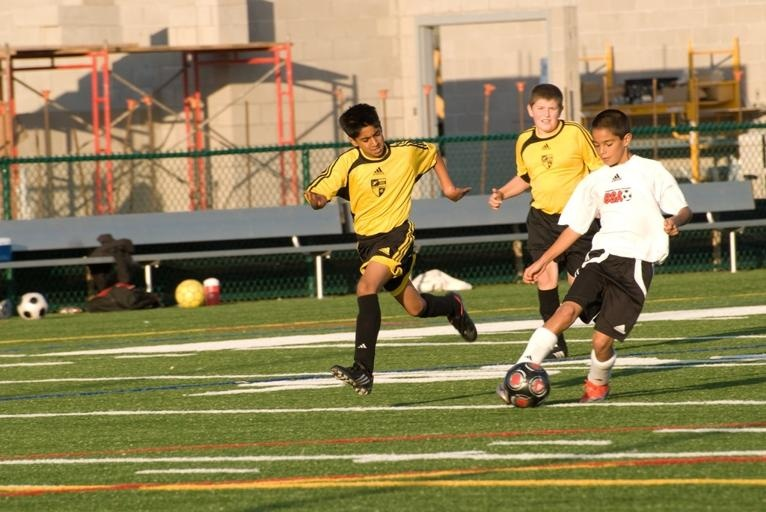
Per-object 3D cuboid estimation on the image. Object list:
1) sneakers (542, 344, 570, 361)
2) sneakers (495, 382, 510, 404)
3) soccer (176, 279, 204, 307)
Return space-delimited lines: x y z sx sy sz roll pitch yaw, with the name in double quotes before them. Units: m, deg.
"sneakers" 2.154 1.226 21.139 0.363 0.190 0.110 -17 -38 -3
"sneakers" 1.347 1.574 19.443 0.091 0.210 0.177 -26 -7 -10
"soccer" -3.032 0.604 26.604 0.462 0.379 0.456 -2 13 2
